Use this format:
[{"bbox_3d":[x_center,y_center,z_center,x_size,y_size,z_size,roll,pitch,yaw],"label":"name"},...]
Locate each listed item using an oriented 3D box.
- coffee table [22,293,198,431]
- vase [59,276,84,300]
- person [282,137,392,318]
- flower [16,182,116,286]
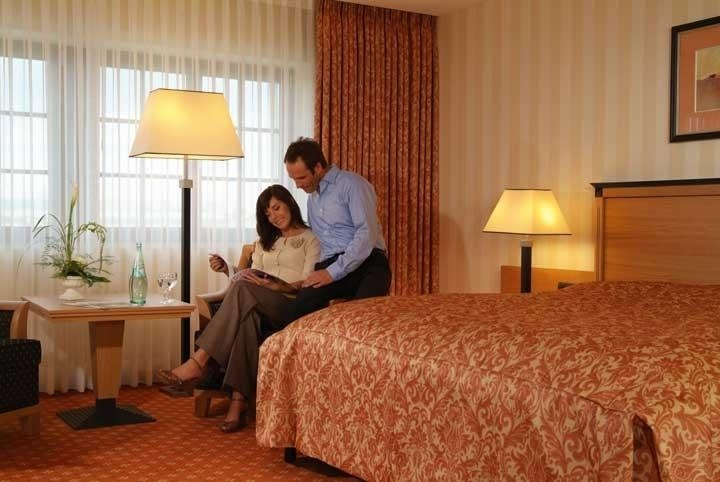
[{"bbox_3d":[-1.917,0.817,4.424,0.900,0.901,0.955,1,-1,-29],"label":"coffee table"},{"bbox_3d":[-2.169,0.355,4.540,0.179,0.204,0.176,1,2,-34],"label":"vase"},{"bbox_3d":[-0.224,0.143,4.736,0.753,1.894,0.758,-8,11,-16],"label":"person"},{"bbox_3d":[-2.277,-0.031,4.792,0.769,0.915,0.711,0,6,-23],"label":"flower"}]
